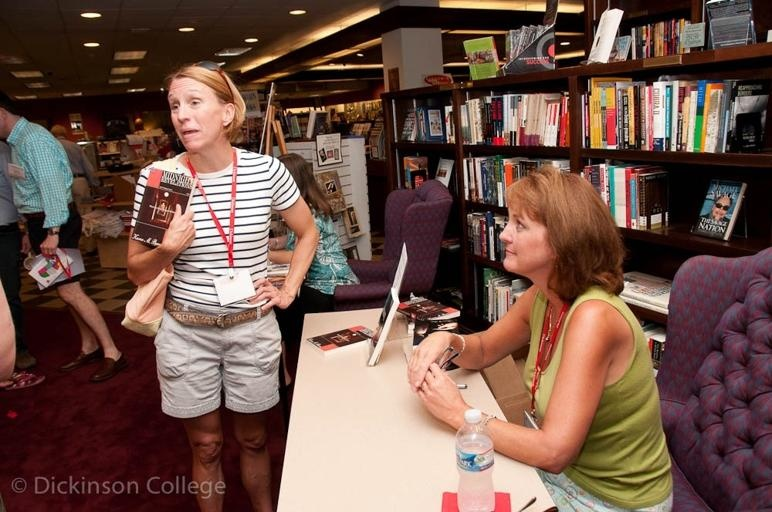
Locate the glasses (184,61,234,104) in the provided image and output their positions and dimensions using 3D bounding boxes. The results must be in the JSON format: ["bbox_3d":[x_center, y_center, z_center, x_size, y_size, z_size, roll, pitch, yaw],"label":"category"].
[{"bbox_3d":[-0.747,-0.764,2.042,0.198,0.183,0.060,4,1,-35],"label":"glasses"}]

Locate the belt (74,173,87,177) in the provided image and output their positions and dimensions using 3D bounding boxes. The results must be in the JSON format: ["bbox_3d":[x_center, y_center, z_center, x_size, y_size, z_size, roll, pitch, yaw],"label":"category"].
[{"bbox_3d":[-5.155,-1.365,7.864,0.147,0.033,0.142,-1,-2,-2],"label":"belt"}]

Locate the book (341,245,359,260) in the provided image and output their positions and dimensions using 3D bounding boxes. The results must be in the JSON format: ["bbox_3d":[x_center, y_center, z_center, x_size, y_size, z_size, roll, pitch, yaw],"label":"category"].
[{"bbox_3d":[-0.408,-0.039,5.477,0.140,0.228,0.255,-4,2,16],"label":"book"}]

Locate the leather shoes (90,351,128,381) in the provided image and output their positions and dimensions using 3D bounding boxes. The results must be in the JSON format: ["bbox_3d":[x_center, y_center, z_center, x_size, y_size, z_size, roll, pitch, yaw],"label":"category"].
[{"bbox_3d":[-2.462,1.005,4.170,0.115,0.108,0.284,2,14,17],"label":"leather shoes"}]

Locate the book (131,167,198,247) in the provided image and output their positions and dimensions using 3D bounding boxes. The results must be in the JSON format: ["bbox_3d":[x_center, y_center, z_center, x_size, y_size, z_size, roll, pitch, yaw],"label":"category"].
[{"bbox_3d":[-0.956,-0.203,2.029,0.247,0.319,0.076,13,-1,3],"label":"book"}]

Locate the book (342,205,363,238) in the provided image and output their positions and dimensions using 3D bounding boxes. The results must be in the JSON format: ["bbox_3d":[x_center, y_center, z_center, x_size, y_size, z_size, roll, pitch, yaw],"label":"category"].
[{"bbox_3d":[-0.402,-0.395,5.473,0.137,0.405,0.368,-10,3,21],"label":"book"}]

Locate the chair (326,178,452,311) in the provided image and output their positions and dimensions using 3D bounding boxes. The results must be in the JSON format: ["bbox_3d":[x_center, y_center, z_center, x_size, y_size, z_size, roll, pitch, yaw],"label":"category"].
[{"bbox_3d":[-0.036,-0.184,4.136,1.137,1.269,1.002,0,10,-2],"label":"chair"}]

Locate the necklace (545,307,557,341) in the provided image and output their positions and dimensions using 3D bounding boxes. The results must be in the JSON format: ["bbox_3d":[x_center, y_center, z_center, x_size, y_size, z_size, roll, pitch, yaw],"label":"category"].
[{"bbox_3d":[0.630,0.256,1.778,0.034,0.111,0.035,-6,-19,31],"label":"necklace"}]

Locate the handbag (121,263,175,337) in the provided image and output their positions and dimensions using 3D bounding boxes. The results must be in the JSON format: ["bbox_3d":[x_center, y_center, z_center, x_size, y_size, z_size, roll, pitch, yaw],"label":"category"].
[{"bbox_3d":[-1.038,0.209,2.060,0.236,0.310,0.131,-13,19,-30],"label":"handbag"}]

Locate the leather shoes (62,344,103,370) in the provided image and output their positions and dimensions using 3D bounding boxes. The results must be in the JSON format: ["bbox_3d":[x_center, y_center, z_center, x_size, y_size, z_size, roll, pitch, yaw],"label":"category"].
[{"bbox_3d":[-2.821,0.945,4.404,0.126,0.140,0.380,-1,10,40],"label":"leather shoes"}]

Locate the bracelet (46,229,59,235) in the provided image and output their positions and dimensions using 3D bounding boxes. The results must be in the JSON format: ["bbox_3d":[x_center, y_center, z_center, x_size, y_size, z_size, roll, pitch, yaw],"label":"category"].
[{"bbox_3d":[-2.776,-0.199,3.884,0.049,0.028,0.058,-1,-3,2],"label":"bracelet"}]
